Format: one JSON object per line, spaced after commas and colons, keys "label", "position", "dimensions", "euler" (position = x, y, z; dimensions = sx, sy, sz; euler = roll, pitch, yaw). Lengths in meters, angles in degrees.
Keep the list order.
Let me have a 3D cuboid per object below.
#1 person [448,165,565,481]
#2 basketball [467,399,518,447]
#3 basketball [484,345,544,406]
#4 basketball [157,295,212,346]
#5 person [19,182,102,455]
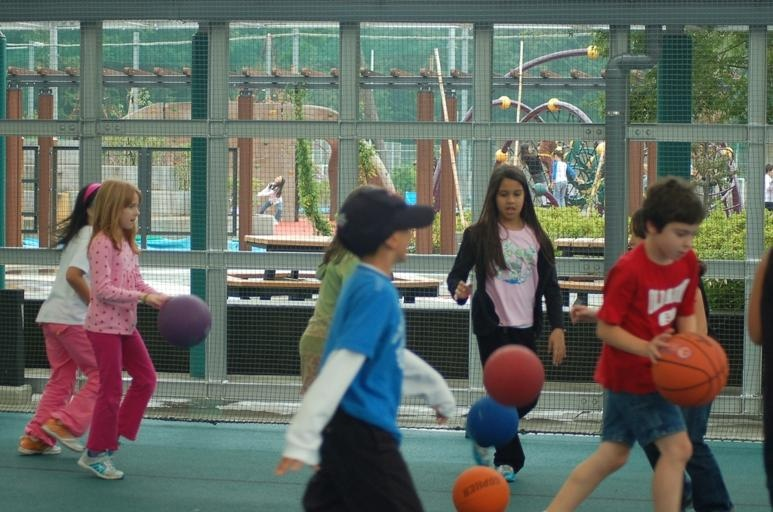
{"label": "person", "position": [1.079, 0.563, 9.344], "dimensions": [0.885, 2.615, 1.178], "euler": [0, 1, 6]}
{"label": "basketball", "position": [0.860, 1.280, 8.536], "dimensions": [0.377, 0.497, 0.407], "euler": [0, 1, 22]}
{"label": "basketball", "position": [0.935, 0.905, 7.784], "dimensions": [0.417, 0.445, 0.216], "euler": [0, 13, 1]}
{"label": "basketball", "position": [-1.674, 0.551, 8.865], "dimensions": [0.415, 0.408, 0.254], "euler": [-4, 13, -16]}
{"label": "person", "position": [-2.936, 0.596, 9.695], "dimensions": [0.842, 2.589, 0.865], "euler": [2, -3, -3]}
